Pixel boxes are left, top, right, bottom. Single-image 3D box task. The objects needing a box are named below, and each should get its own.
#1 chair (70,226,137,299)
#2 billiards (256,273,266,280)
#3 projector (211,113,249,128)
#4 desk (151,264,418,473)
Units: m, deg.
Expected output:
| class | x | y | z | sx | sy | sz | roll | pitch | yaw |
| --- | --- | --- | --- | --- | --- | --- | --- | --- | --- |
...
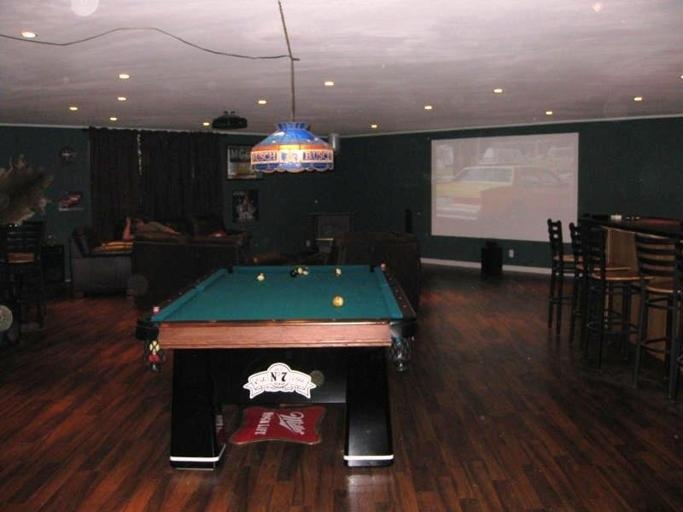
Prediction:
| class | x | y | z | sx | sy | sz | roll | pitch | yaw |
| --- | --- | --- | --- | --- | --- | --- | --- | --- | --- |
| chair | -3.744 | 0.190 | 8.545 | 0.984 | 0.930 | 1.334 | -1 | 5 | -17 |
| billiards | -0.697 | 0.181 | 4.713 | 0.066 | 0.046 | 0.064 | 0 | -3 | -4 |
| projector | -1.414 | -1.721 | 7.092 | 0.360 | 0.150 | 0.346 | 1 | 8 | 2 |
| desk | -0.379 | 0.544 | 3.741 | 1.309 | 0.698 | 1.892 | 0 | 4 | 3 |
